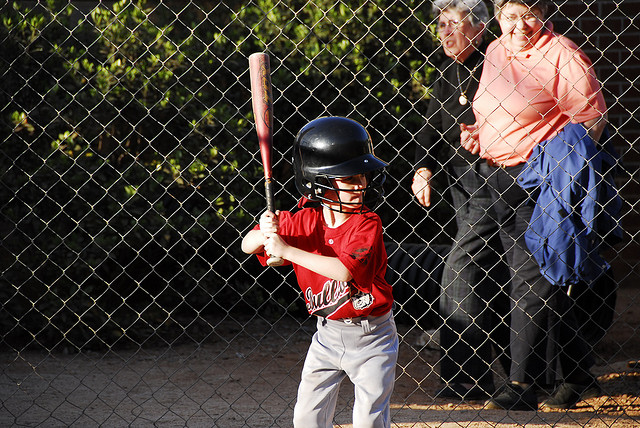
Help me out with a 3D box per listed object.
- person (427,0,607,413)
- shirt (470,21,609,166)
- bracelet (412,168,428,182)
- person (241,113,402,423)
[{"bbox_3d":[1.479,-0.066,6.768,1.190,3.053,0.470,-2,-3,42],"label":"person"},{"bbox_3d":[1.567,-0.939,6.901,0.738,1.041,1.220,-16,24,-32],"label":"shirt"},{"bbox_3d":[0.774,-0.311,7.042,0.045,0.099,0.081,47,13,20],"label":"bracelet"},{"bbox_3d":[0.064,0.361,5.865,0.867,2.007,0.378,0,-2,3],"label":"person"}]
